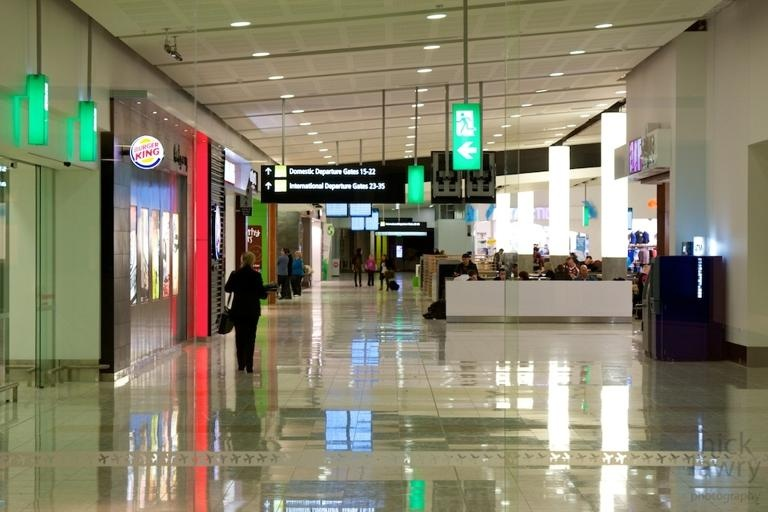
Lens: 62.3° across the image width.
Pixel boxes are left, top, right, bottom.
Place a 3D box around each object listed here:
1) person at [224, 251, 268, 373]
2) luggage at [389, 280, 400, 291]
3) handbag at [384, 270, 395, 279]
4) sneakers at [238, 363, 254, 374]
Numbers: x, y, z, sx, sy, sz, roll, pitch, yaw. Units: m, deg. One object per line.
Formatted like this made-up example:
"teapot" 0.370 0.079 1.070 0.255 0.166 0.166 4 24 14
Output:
"person" -2.099 0.847 9.760 0.605 1.781 0.678 -1 5 -11
"luggage" 0.430 1.100 24.187 0.307 0.414 0.415 1 -8 -1
"handbag" 0.219 0.721 24.726 0.319 0.332 0.313 0 -5 1
"sneakers" -2.074 1.690 9.595 0.146 0.146 0.054 -8 -15 15
